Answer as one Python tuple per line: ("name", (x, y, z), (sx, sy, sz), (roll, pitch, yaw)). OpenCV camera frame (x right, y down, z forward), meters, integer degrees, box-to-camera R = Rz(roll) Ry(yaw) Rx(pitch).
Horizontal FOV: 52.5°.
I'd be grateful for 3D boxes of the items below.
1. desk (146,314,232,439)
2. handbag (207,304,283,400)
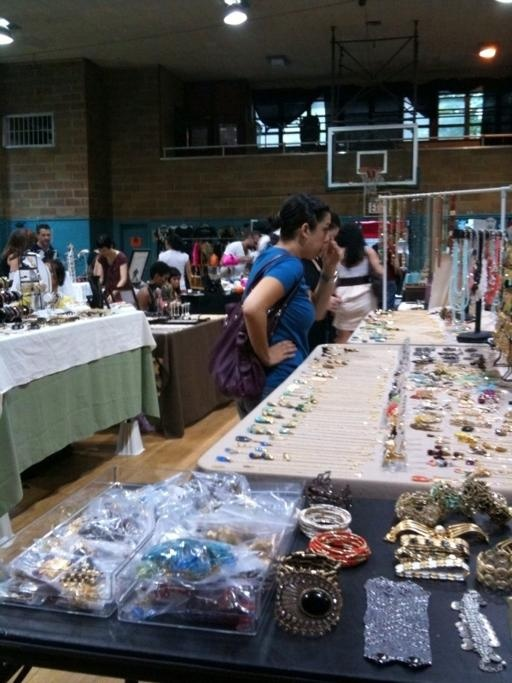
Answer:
("desk", (-0.600, 0.047, 4.257), (0.512, 0.471, 0.733), (-8, 12, -24))
("handbag", (-0.046, -0.009, 1.735), (0.180, 0.342, 0.262), (4, 20, -20))
